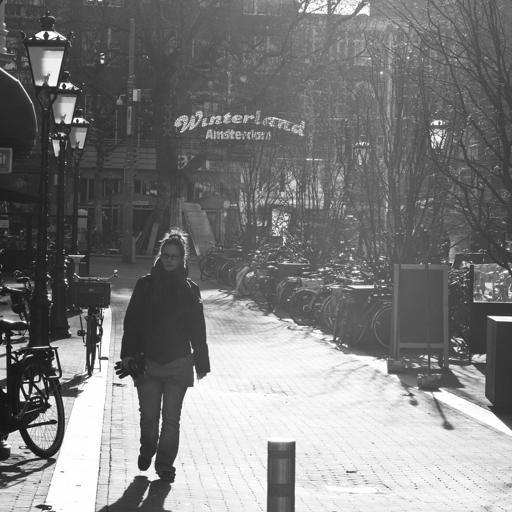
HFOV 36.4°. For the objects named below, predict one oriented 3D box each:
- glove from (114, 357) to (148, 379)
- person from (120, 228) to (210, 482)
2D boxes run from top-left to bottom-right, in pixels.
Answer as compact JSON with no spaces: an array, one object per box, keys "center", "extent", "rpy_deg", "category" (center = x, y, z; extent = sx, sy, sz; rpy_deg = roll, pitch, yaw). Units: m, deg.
[{"center":[-0.895,0.791,5.544],"extent":[0.148,0.173,0.059],"rpy_deg":[20,34,-13],"category":"glove"},{"center":[-0.661,0.689,5.583],"extent":[0.636,1.706,0.530],"rpy_deg":[1,1,-32],"category":"person"}]
